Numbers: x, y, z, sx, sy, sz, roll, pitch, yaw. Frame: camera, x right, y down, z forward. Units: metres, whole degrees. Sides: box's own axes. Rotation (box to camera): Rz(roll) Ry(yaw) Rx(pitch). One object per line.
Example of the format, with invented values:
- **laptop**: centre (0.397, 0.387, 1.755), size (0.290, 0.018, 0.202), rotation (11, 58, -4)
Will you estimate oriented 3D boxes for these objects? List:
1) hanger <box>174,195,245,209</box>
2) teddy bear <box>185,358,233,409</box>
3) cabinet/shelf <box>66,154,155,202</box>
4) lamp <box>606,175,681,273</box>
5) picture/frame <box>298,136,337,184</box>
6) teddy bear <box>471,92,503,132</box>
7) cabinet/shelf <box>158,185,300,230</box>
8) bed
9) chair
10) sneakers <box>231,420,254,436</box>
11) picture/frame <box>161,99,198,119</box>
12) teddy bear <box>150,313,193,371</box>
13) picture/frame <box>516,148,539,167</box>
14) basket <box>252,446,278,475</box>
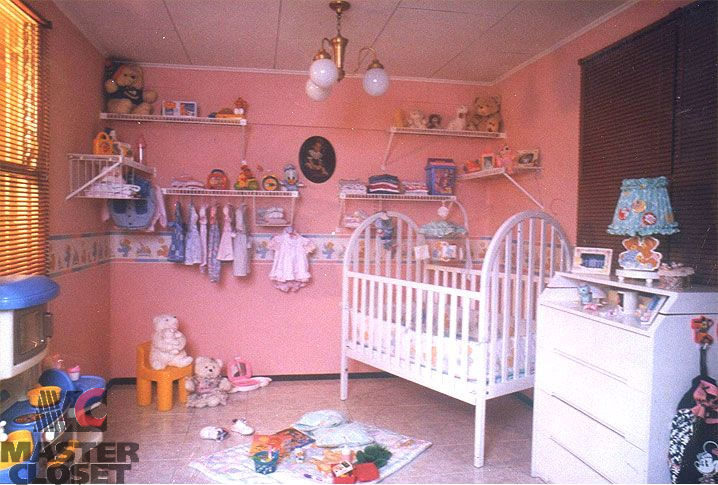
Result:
- **hanger**: centre (-1.425, -0.397, 5.140), size (0.741, 0.094, 0.051), rotation (2, 7, -7)
- **teddy bear**: centre (-1.366, 1.274, 4.831), size (0.388, 0.423, 0.348), rotation (5, -6, -20)
- **cabinet/shelf**: centre (-2.097, -0.526, 4.468), size (0.509, 0.424, 0.863), rotation (0, 12, -6)
- **lamp**: centre (1.928, -0.133, 3.551), size (0.459, 0.601, 0.345), rotation (-8, 15, -34)
- **picture/frame**: centre (-0.424, -0.822, 5.251), size (0.518, 0.611, 0.030), rotation (-1, 4, -9)
- **teddy bear**: centre (1.291, -1.284, 5.383), size (0.346, 0.352, 0.236), rotation (19, 27, 40)
- **cabinet/shelf**: centre (-1.148, -0.322, 5.087), size (1.198, 0.412, 0.250), rotation (-1, 12, -8)
- **bed**: centre (0.787, 0.565, 4.675), size (1.091, 1.549, 1.820), rotation (3, -2, -39)
- **chair**: centre (-1.765, 1.196, 5.007), size (0.552, 0.726, 0.538), rotation (-1, -2, 14)
- **sneakers**: centre (-0.929, 1.484, 4.279), size (0.152, 0.057, 0.105), rotation (4, 3, 30)
- **picture/frame**: centre (-1.672, -1.241, 4.966), size (0.336, 0.167, 0.292), rotation (-3, 12, -17)
- **teddy bear**: centre (-1.723, 0.908, 4.802), size (0.384, 0.447, 0.380), rotation (8, 1, 17)
- **picture/frame**: centre (1.490, -0.741, 4.713), size (0.196, 0.147, 0.136), rotation (8, 14, 30)
- **basket**: centre (-0.672, 1.569, 3.837), size (0.170, 0.096, 0.164), rotation (1, 3, 4)
